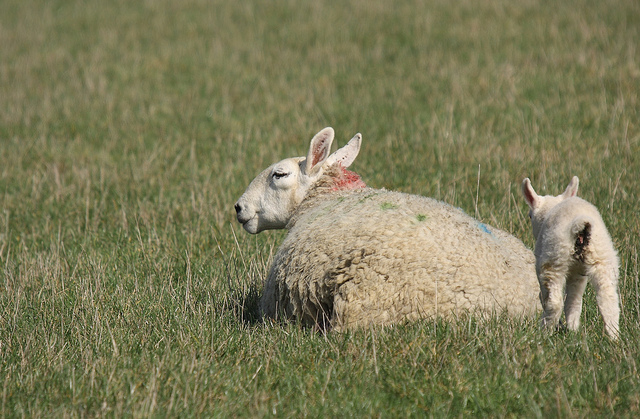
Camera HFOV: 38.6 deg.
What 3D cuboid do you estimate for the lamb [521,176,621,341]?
[{"bbox_3d":[2.802,0.404,10.693,0.765,1.598,2.427,0,21,-7],"label":"lamb"}]

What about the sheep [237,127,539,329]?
[{"bbox_3d":[0.632,0.410,10.827,3.247,1.800,2.032,12,0,36],"label":"sheep"}]
